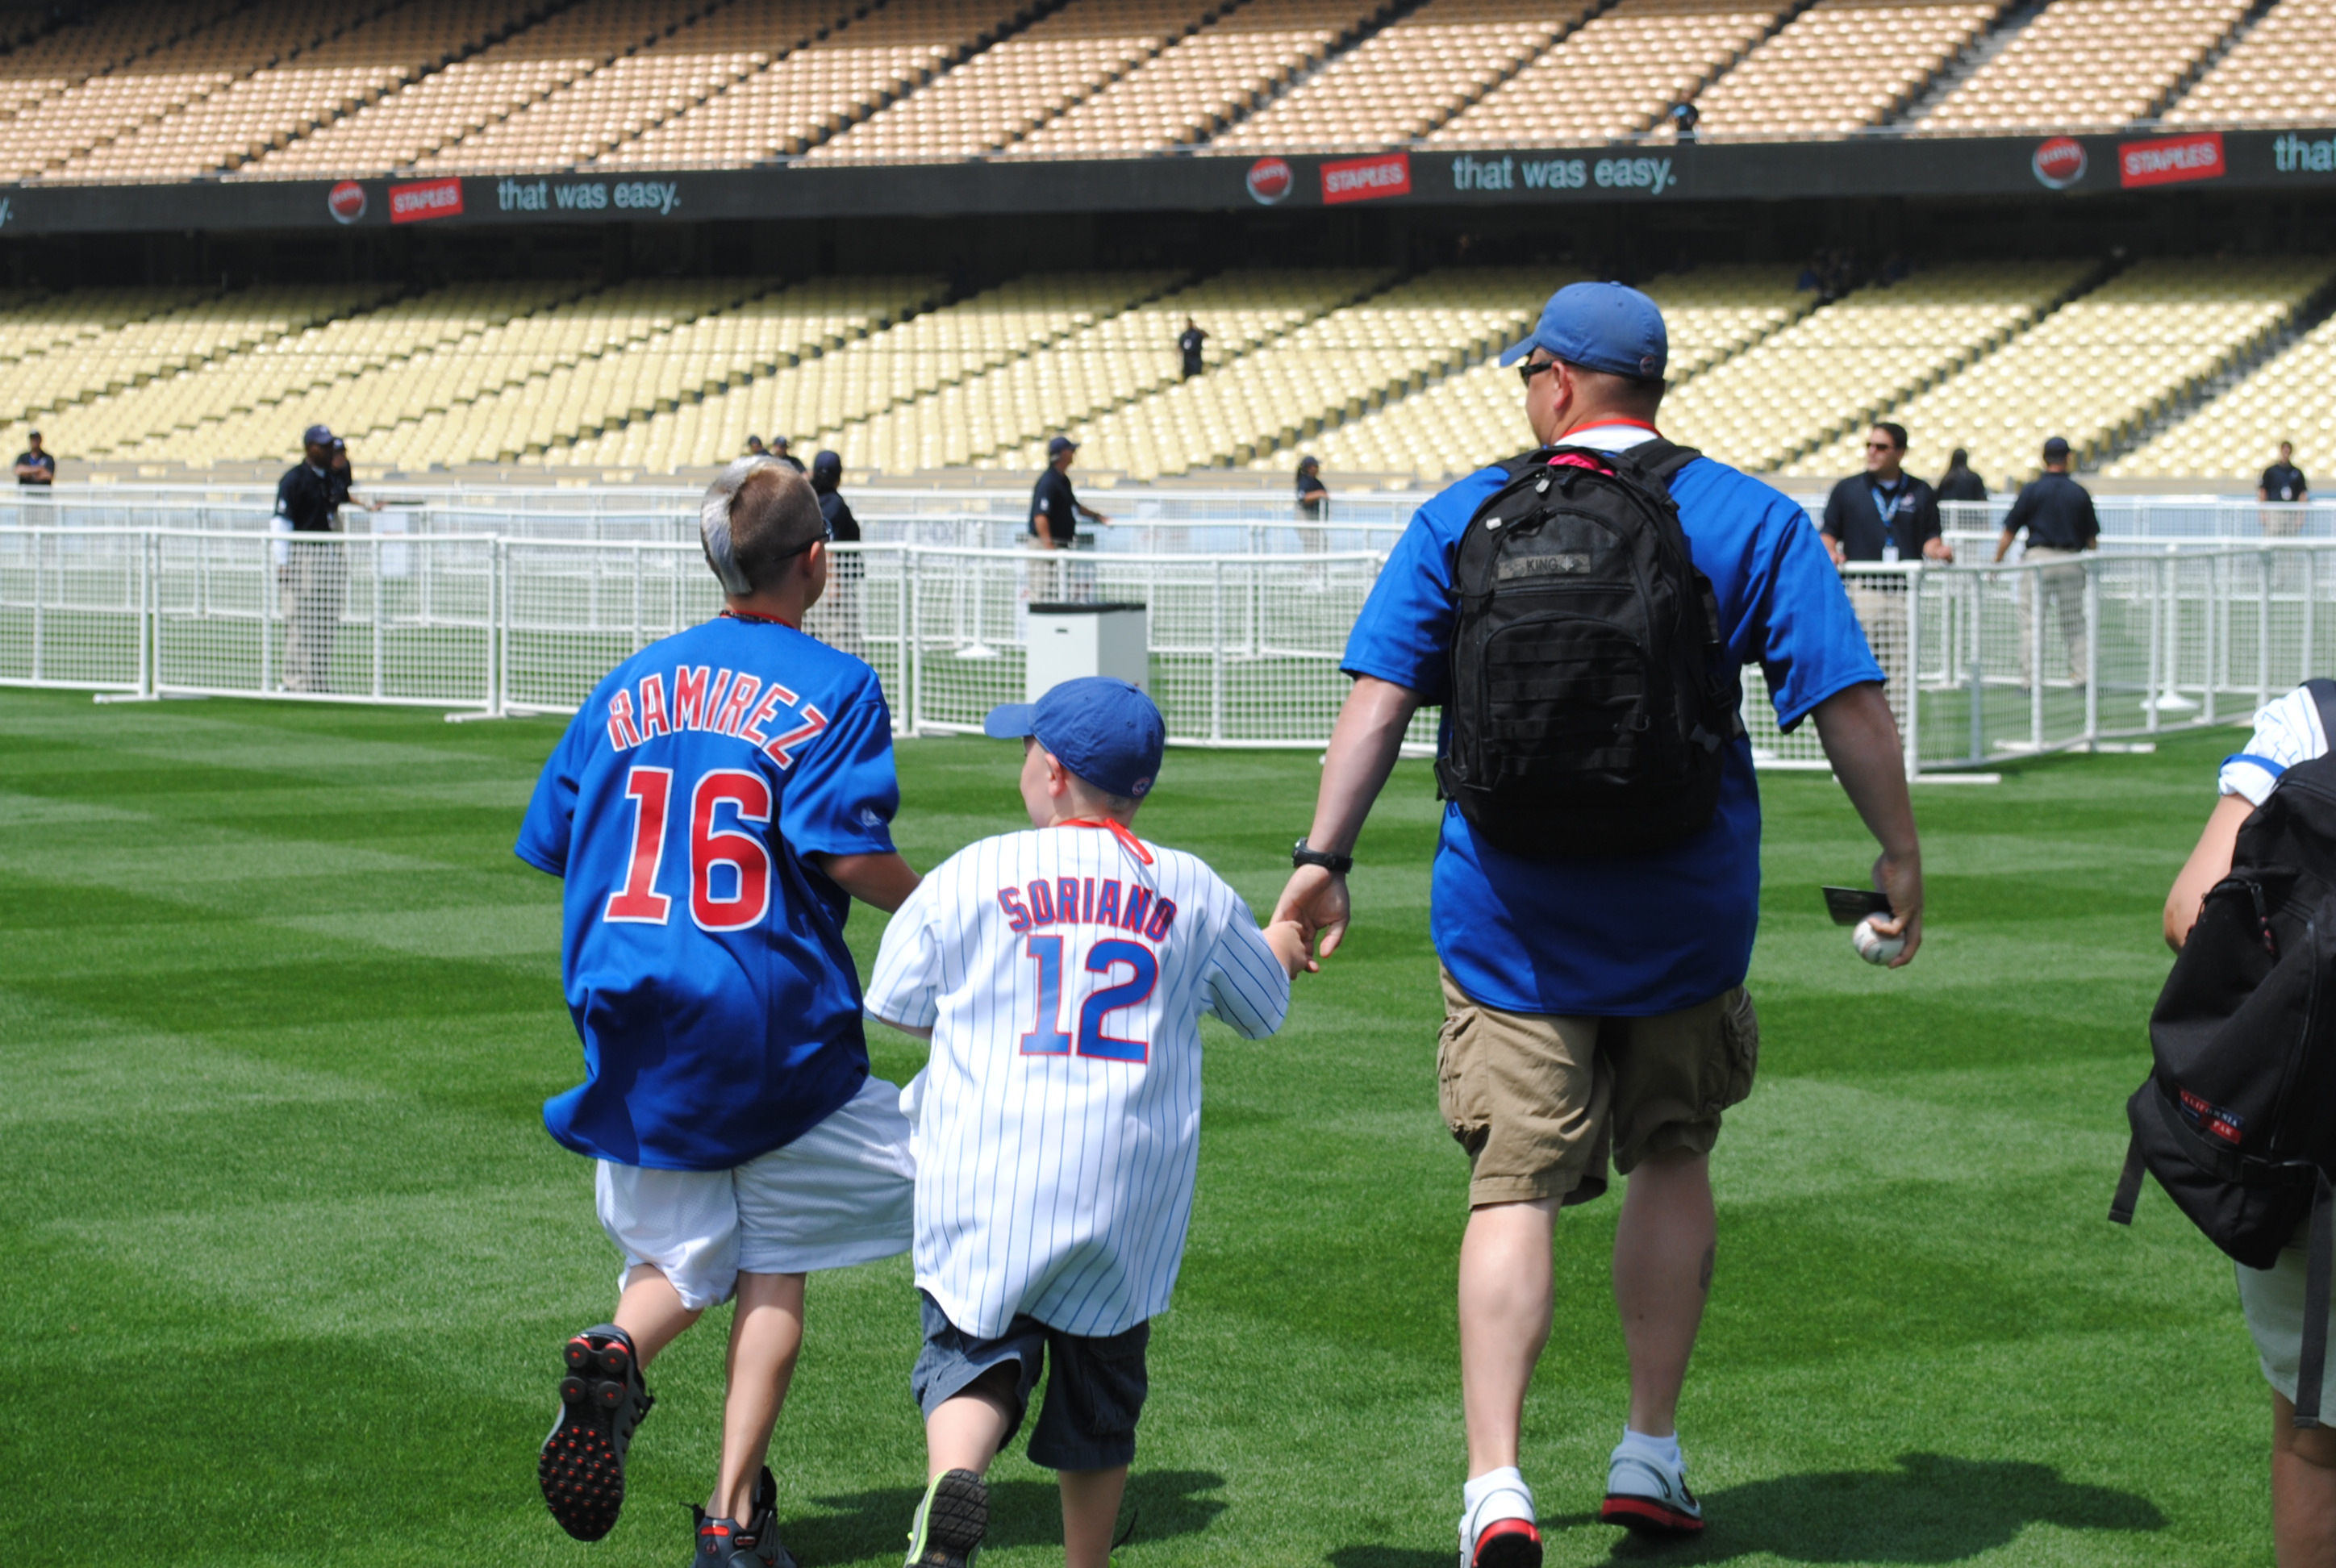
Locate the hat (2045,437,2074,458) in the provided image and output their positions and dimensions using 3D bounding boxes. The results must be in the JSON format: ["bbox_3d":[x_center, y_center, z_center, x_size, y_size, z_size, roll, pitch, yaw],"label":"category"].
[{"bbox_3d":[6.215,-2.335,22.234,0.141,0.171,0.164,3,17,13],"label":"hat"}]

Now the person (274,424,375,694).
[{"bbox_3d":[-6.475,-1.689,23.911,0.596,2.014,1.222,1,2,-16],"label":"person"}]

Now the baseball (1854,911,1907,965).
[{"bbox_3d":[2.150,0.490,9.711,0.150,0.156,0.083,9,-22,-43],"label":"baseball"}]

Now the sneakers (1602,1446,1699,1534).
[{"bbox_3d":[1.435,2.152,9.610,0.162,0.184,0.373,1,-7,35],"label":"sneakers"}]

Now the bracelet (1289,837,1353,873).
[{"bbox_3d":[0.452,0.217,9.616,0.127,0.068,0.096,7,2,25],"label":"bracelet"}]

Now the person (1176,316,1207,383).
[{"bbox_3d":[0.287,-6.110,45.155,0.460,0.733,1.054,1,3,0],"label":"person"}]

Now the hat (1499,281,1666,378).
[{"bbox_3d":[1.285,-1.360,9.717,0.381,0.213,0.289,18,19,36],"label":"hat"}]

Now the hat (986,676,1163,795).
[{"bbox_3d":[-0.262,-0.183,9.326,0.455,0.240,0.316,28,24,25],"label":"hat"}]
